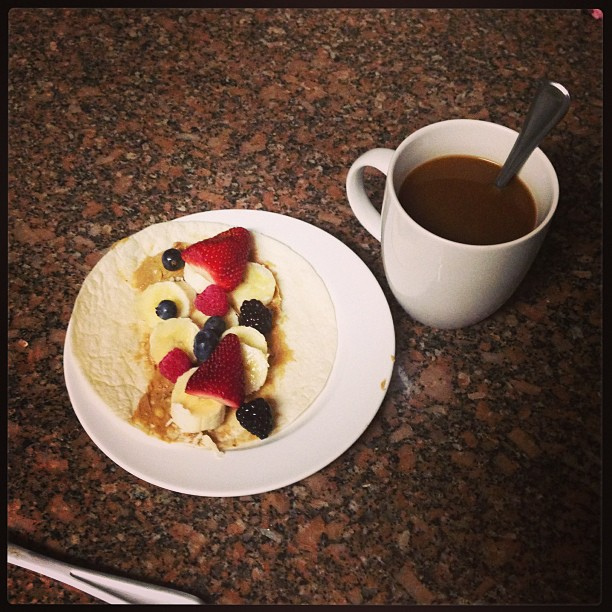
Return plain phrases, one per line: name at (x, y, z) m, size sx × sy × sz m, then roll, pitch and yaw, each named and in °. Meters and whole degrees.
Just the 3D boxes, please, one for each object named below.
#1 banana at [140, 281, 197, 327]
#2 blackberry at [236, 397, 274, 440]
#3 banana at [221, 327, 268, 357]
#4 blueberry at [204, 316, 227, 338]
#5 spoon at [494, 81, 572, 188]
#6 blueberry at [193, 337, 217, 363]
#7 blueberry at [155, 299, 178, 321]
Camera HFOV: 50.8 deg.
banana at (-0.241, 0.000, 1.111) m, size 0.077 × 0.040 × 0.091 m, roll -6°, pitch 42°, yaw -18°
blackberry at (-0.075, 0.172, 0.981) m, size 0.051 × 0.022 × 0.056 m, roll -38°, pitch 70°, yaw -17°
banana at (-0.101, 0.055, 1.071) m, size 0.058 × 0.012 × 0.051 m, roll -17°, pitch 93°, yaw 30°
blueberry at (-0.155, 0.035, 1.105) m, size 0.037 × 0.033 × 0.033 m, roll 22°, pitch 86°, yaw -9°
spoon at (0.298, -0.227, 0.900) m, size 0.049 × 0.197 × 0.016 m, roll 36°, pitch 41°, yaw 15°
blueberry at (-0.167, 0.074, 1.064) m, size 0.038 × 0.023 × 0.038 m, roll 7°, pitch 79°, yaw 2°
blueberry at (-0.238, 0.007, 1.094) m, size 0.034 × 0.020 × 0.032 m, roll -2°, pitch 84°, yaw 0°
